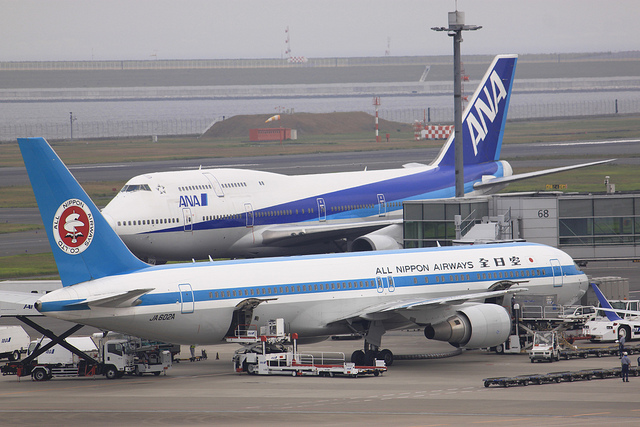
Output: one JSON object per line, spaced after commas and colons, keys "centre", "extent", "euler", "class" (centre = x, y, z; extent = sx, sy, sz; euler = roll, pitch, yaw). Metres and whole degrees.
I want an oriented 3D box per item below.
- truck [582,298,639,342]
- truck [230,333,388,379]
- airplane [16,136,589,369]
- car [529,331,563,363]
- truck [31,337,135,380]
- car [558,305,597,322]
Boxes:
{"centre": [20.701, 7.473, 104.418], "extent": [4.464, 2.152, 2.617], "euler": [-4, 5, -29], "class": "truck"}
{"centre": [-0.943, 9.622, 99.167], "extent": [7.726, 1.704, 3.924], "euler": [-1, 0, 7], "class": "truck"}
{"centre": [-0.964, 5.033, 99.384], "extent": [26.759, 7.408, 19.619], "euler": [-2, 2, -27], "class": "airplane"}
{"centre": [15.174, 8.880, 101.295], "extent": [1.778, 1.255, 2.555], "euler": [-3, -7, 19], "class": "car"}
{"centre": [-15.462, 9.521, 99.735], "extent": [7.761, 2.272, 2.643], "euler": [-1, 2, 2], "class": "truck"}
{"centre": [17.941, 6.959, 104.223], "extent": [2.329, 0.892, 1.291], "euler": [1, -3, -18], "class": "car"}
